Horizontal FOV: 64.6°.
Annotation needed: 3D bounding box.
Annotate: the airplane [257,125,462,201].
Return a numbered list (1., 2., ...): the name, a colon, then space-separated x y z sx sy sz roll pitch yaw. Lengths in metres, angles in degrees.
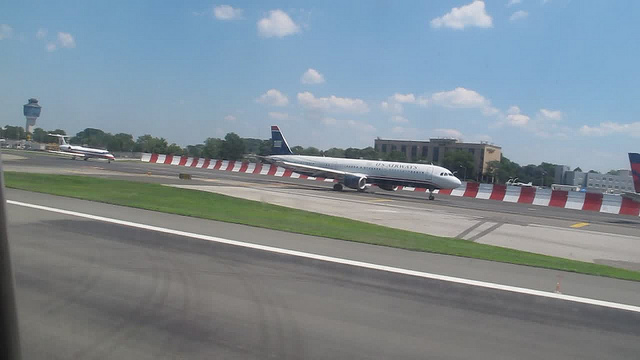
1. airplane: 1.814 -1.934 47.319 22.008 5.139 7.188 9 6 40

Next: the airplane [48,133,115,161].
1. airplane: -31.935 -3.702 67.919 7.010 1.892 2.646 6 5 13
